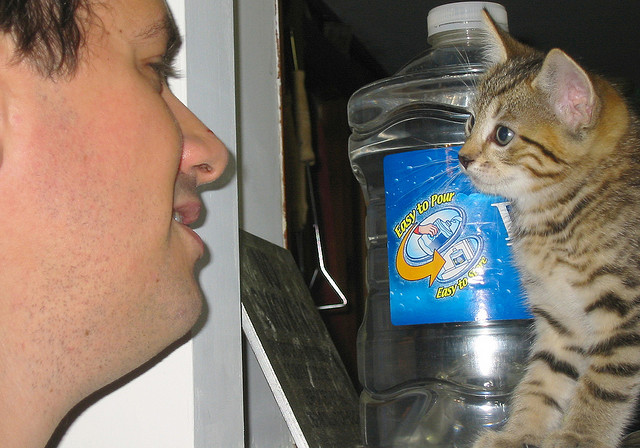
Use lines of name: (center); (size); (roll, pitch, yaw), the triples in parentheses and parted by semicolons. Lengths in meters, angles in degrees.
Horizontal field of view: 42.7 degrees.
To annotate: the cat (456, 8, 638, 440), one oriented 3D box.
cat: (0.414, 0.031, 1.454); (0.314, 0.667, 0.250); (-6, 9, 20)
